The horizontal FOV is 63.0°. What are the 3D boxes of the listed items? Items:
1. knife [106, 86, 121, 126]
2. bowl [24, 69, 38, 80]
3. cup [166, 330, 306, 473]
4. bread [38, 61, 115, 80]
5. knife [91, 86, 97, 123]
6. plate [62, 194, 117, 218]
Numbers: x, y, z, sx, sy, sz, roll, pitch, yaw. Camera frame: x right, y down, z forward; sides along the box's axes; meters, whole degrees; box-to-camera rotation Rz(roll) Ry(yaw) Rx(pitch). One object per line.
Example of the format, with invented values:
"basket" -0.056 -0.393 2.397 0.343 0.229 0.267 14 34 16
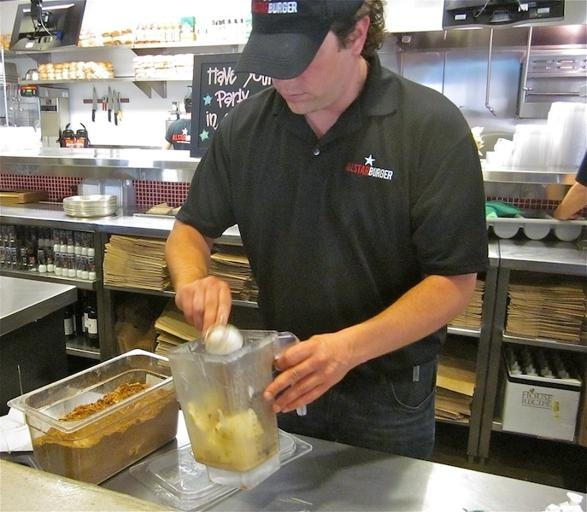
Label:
"knife" -2.374 -1.960 6.336 0.209 0.485 0.151 2 16 11
"bowl" -3.459 -2.360 6.317 0.173 0.174 0.441 -9 17 -27
"cup" -0.117 0.263 0.902 0.147 0.250 0.160 -1 15 0
"bread" -2.738 -2.321 6.077 0.422 0.105 0.333 3 9 16
"knife" -2.636 -2.002 6.334 0.078 0.511 0.020 -8 12 -41
"plate" -1.439 -0.352 3.403 0.329 0.144 0.274 4 15 19
